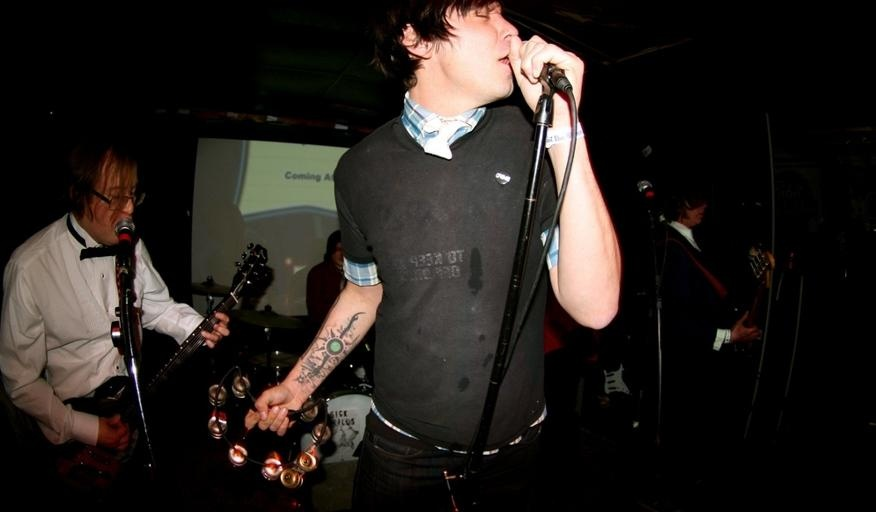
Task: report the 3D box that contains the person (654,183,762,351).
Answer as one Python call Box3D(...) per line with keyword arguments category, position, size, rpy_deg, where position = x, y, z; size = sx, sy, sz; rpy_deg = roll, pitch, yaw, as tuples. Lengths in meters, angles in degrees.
Box3D(category="person", position=(2.968, 0.219, 7.670), size=(1.059, 1.970, 0.370), rpy_deg=(-1, -13, -36))

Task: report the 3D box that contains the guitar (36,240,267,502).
Box3D(category="guitar", position=(-2.739, 1.020, 6.218), size=(1.487, 2.502, 1.138), rpy_deg=(6, 9, 23))
